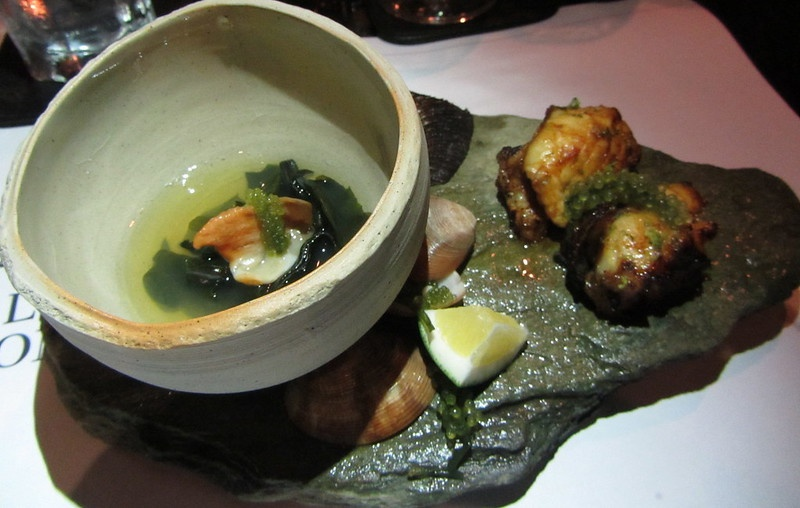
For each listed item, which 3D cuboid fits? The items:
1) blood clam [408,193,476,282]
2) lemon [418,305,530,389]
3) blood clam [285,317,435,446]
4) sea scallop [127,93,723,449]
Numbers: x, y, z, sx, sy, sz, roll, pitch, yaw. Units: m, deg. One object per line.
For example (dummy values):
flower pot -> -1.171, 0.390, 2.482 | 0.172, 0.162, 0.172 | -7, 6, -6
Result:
blood clam -> 0.133, -0.031, 2.125 | 0.235, 0.074, 0.226 | -21, 90, -13
lemon -> 0.218, 0.214, 2.037 | 0.277, 0.112, 0.308 | -12, 67, -18
blood clam -> -0.095, 0.391, 1.977 | 0.351, 0.126, 0.351 | -42, 72, -16
sea scallop -> 0.295, 0.161, 2.030 | 1.122, 0.135, 1.261 | 39, 81, 27
